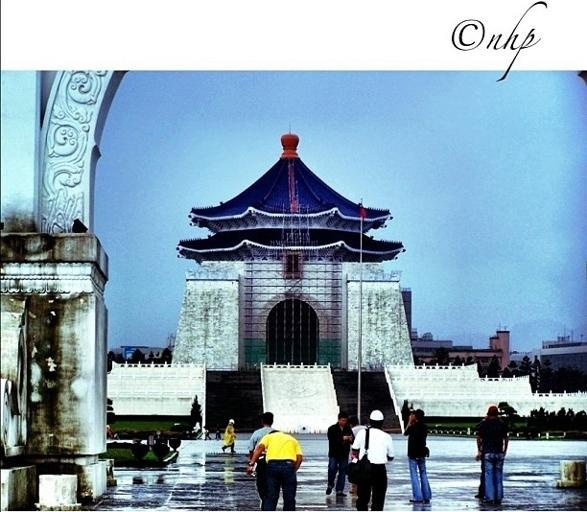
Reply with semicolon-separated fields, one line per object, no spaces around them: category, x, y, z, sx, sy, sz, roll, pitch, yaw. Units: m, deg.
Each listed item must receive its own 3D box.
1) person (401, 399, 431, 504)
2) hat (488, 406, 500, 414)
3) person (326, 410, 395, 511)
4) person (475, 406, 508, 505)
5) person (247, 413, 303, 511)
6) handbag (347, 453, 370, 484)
person;1.948;3.084;20.115;0.395;1.410;0.963;-1;-6;6
hat;3.042;2.348;19.740;0.148;0.074;0.167;7;-18;-41
person;1.093;2.833;18.003;0.566;1.372;0.816;-1;-6;3
person;3.054;3.011;19.772;0.446;1.450;0.622;-1;-6;9
person;-0.253;2.722;17.184;0.707;1.305;0.842;0;-6;-3
handbag;0.909;2.906;17.781;0.232;0.499;0.439;9;-21;-27
